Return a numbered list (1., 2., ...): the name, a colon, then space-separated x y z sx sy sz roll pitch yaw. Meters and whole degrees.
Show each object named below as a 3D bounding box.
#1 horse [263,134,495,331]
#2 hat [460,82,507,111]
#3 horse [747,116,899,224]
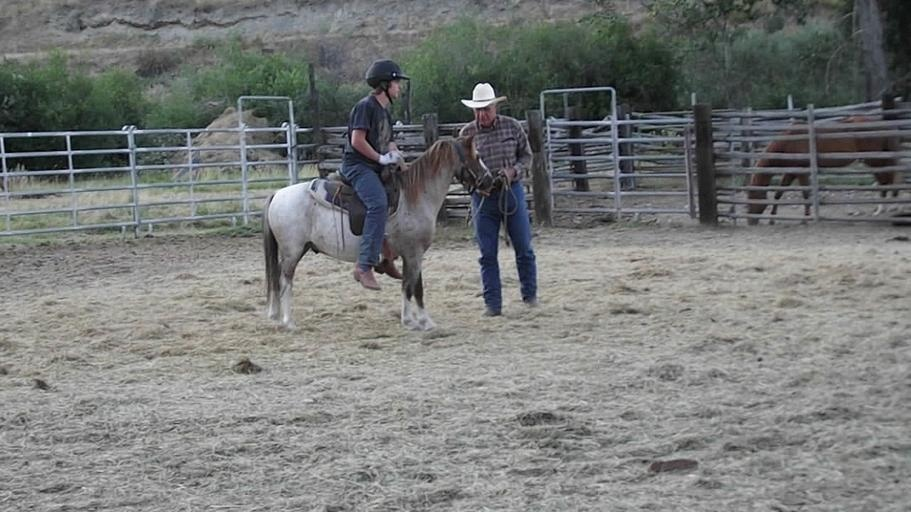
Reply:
1. horse: -1.863 -0.413 32.296 7.025 4.670 1.828 1 0 -1
2. hat: 0.842 -4.197 32.300 1.201 0.496 1.309 -1 5 17
3. horse: 10.821 -2.549 35.683 4.267 3.056 0.936 -1 8 12
